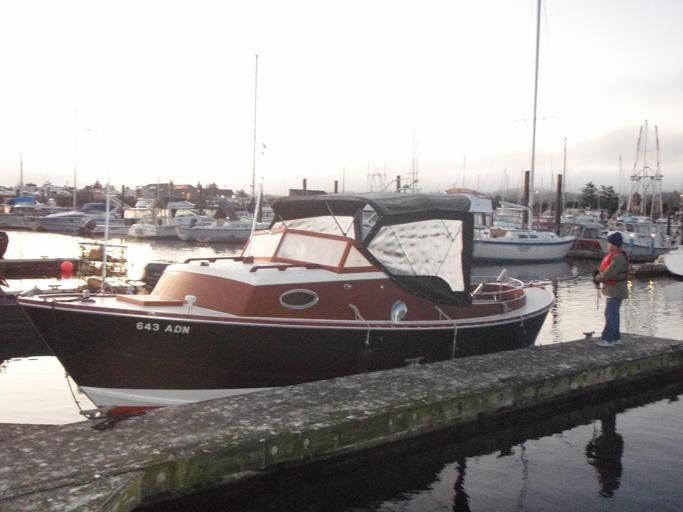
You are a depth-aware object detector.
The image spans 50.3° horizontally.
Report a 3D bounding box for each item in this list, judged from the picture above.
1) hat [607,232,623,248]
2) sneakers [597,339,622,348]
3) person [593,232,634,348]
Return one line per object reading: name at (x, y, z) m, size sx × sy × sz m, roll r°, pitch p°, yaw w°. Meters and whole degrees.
hat at (4.320, -0.261, 11.617) m, size 0.223 × 0.284 × 0.236 m, roll 2°, pitch 14°, yaw 12°
sneakers at (4.488, 1.478, 12.415) m, size 0.426 × 0.131 × 0.135 m, roll 2°, pitch 6°, yaw 8°
person at (4.351, 0.574, 11.922) m, size 0.542 × 2.048 × 0.842 m, roll 4°, pitch 16°, yaw 19°
